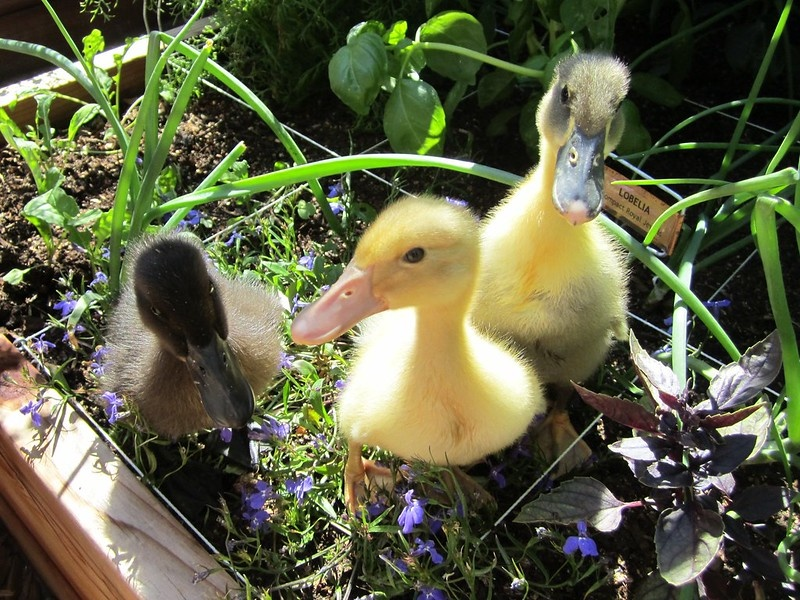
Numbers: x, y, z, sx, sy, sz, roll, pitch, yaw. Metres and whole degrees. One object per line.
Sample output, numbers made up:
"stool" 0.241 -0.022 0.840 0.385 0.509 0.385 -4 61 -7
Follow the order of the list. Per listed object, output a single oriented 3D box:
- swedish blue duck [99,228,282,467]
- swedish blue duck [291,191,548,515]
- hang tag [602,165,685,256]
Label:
"swedish blue duck" -0.537 0.034 2.003 0.401 0.419 0.621 -17 74 -18
"swedish blue duck" 0.064 0.020 2.073 0.605 0.850 0.879 6 28 9
"hang tag" 0.658 -0.234 2.175 0.039 0.164 0.296 -23 60 -20
